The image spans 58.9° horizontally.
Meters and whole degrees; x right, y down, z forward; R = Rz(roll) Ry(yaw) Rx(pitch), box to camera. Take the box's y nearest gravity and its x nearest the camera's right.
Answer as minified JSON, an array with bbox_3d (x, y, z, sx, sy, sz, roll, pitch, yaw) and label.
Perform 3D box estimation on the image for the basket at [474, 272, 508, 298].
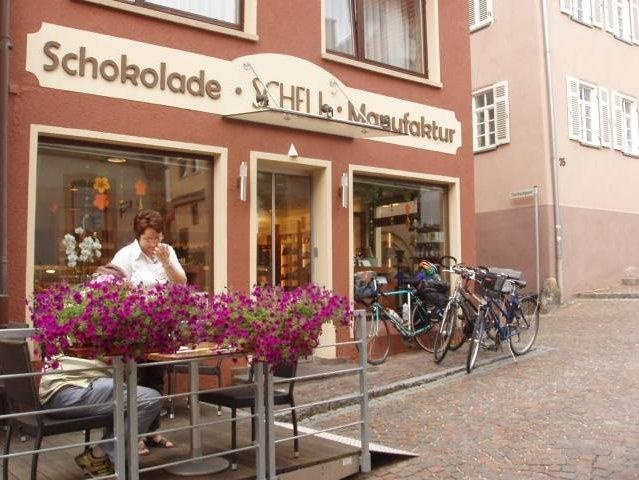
[{"bbox_3d":[2.671,0.588,8.763,0.499,0.418,0.310,1,-15,28],"label":"basket"}]

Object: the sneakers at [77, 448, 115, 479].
[{"bbox_3d":[-1.697,1.667,4.235,0.297,0.118,0.201,21,5,22],"label":"sneakers"}]

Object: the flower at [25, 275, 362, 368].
[{"bbox_3d":[-0.964,0.579,4.164,1.362,0.465,1.047,2,-3,-30],"label":"flower"}]

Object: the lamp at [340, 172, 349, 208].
[{"bbox_3d":[0.434,-0.821,9.311,0.186,0.590,0.132,0,-3,-28],"label":"lamp"}]

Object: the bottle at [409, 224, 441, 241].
[{"bbox_3d":[2.063,-0.104,10.781,0.781,0.288,0.132,0,-3,-37],"label":"bottle"}]

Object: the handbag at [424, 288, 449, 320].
[{"bbox_3d":[2.020,1.043,9.794,0.461,0.534,0.413,-1,-1,4],"label":"handbag"}]

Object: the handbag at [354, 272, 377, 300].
[{"bbox_3d":[0.763,0.759,9.520,0.385,0.451,0.191,5,-1,-6],"label":"handbag"}]
